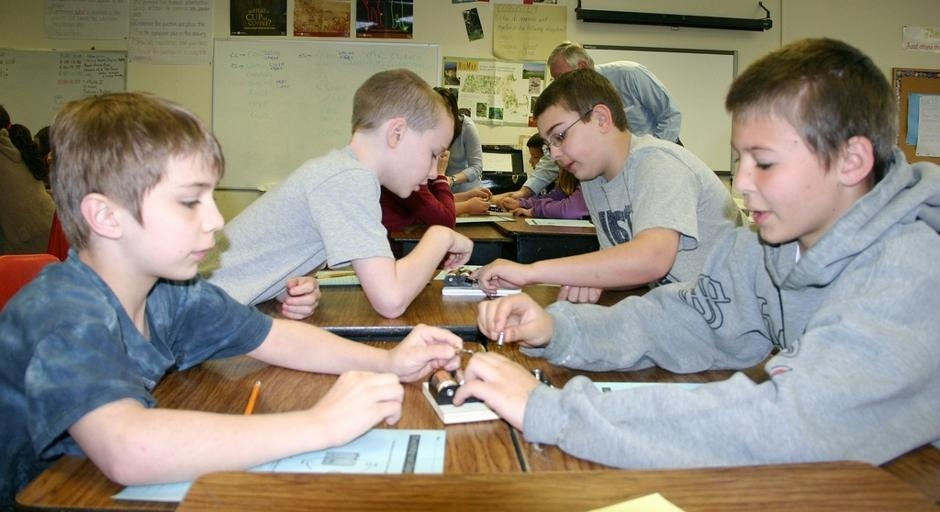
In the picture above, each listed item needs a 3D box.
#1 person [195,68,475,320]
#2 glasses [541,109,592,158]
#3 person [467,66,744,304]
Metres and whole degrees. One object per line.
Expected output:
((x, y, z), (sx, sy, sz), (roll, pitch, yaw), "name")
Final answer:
((-0.361, -0.233, 2.475), (1.093, 0.702, 0.741), (-5, 32, -17), "person")
((0.401, -0.501, 2.744), (0.183, 0.052, 0.170), (-35, -1, -17), "glasses")
((0.586, -0.321, 2.806), (1.185, 0.800, 0.804), (-14, 4, -4), "person")
